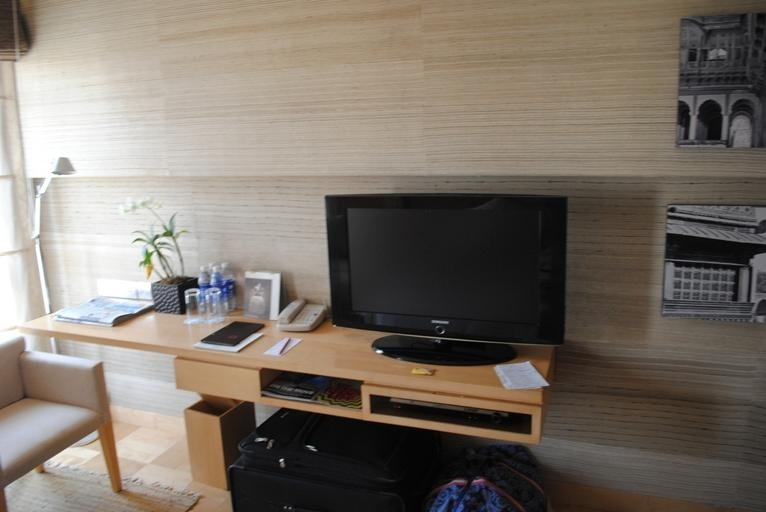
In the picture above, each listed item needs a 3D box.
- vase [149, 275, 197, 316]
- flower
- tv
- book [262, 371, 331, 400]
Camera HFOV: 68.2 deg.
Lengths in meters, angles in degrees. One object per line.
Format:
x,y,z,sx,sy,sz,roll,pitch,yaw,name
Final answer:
-1.237,0.234,3.399,0.337,0.164,0.241,1,6,7,vase
-1.400,-0.090,3.400,0.448,0.511,0.280,0,14,5,flower
0.340,0.100,2.699,1.421,0.574,0.340,1,9,13,tv
-0.437,0.646,2.825,0.200,0.029,0.168,4,14,18,book
